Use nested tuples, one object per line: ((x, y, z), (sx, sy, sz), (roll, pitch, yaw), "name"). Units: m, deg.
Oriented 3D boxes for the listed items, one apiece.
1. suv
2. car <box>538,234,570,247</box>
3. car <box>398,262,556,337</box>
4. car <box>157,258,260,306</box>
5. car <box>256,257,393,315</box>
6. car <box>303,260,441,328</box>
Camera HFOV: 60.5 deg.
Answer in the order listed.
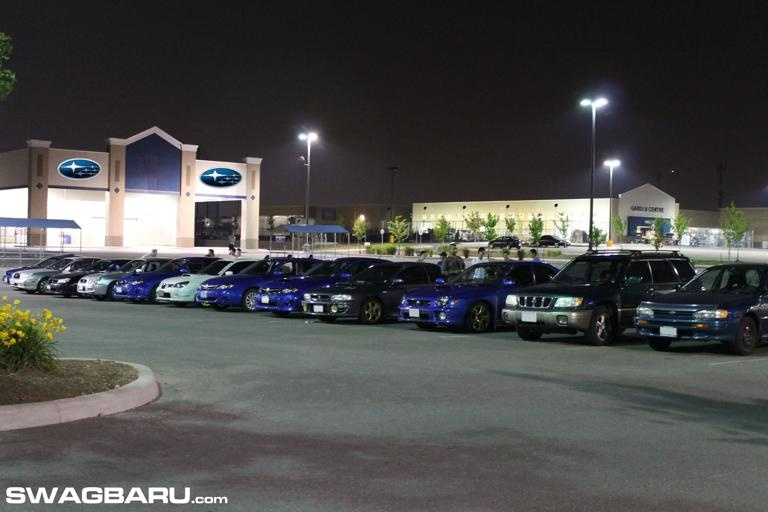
((5.860, 0.989, 17.568), (4.771, 1.938, 2.361), (0, -3, -36), "suv")
((20.593, -1.640, 80.191), (3.251, 1.373, 1.949), (-2, 3, 0), "car")
((2.907, 1.160, 18.903), (4.401, 1.417, 1.959), (0, -1, -35), "car")
((-7.004, 0.968, 24.558), (4.204, 1.364, 1.763), (-1, 0, -34), "car")
((-1.900, 0.938, 21.922), (4.340, 1.395, 1.910), (1, -3, -32), "car")
((-0.277, 1.157, 20.306), (4.151, 1.340, 1.862), (2, -4, -38), "car")
